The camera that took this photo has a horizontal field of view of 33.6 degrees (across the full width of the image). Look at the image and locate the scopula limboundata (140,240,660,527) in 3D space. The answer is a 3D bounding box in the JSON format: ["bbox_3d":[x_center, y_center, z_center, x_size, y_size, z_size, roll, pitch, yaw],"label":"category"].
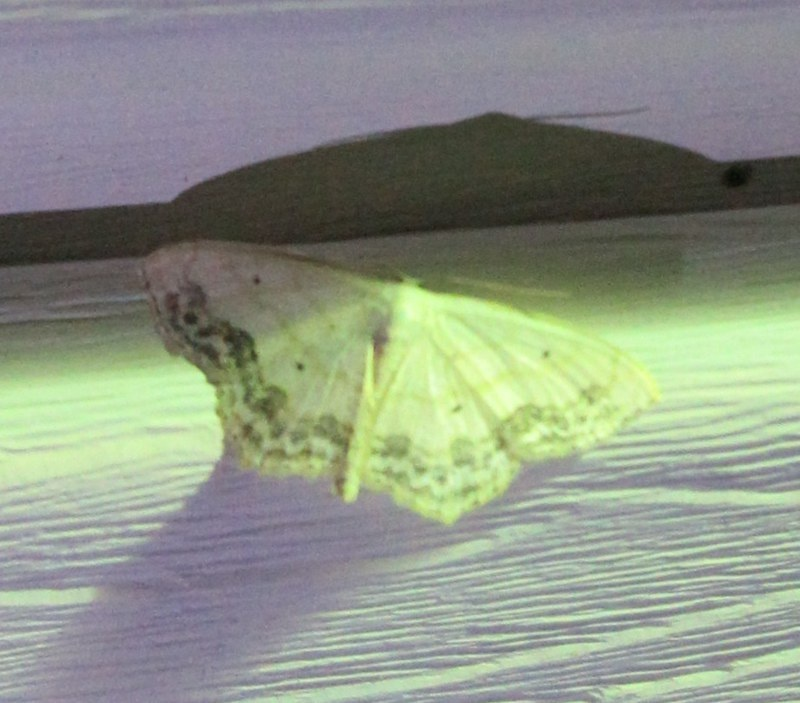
[{"bbox_3d":[-0.020,0.038,1.749,0.807,0.285,0.093,12,4,35],"label":"scopula limboundata"}]
